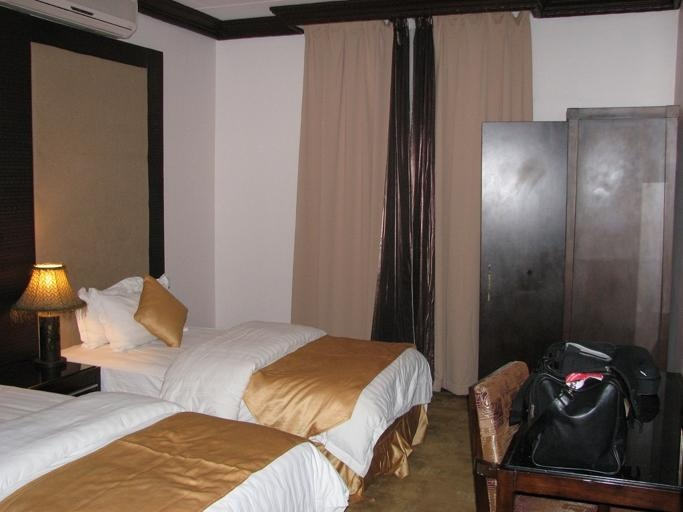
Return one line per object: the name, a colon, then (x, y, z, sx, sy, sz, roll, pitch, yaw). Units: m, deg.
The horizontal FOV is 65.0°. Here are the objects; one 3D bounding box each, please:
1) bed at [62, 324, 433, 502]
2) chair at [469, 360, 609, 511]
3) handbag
bed: (-0.610, 0.813, 3.659, 1.888, 0.622, 1.232, 3, 8, 20)
chair: (0.879, 0.755, 2.435, 0.506, 0.736, 0.721, 0, 3, 19)
handbag: (0.999, 0.578, 2.254, 0.429, 0.232, 0.622, -5, 11, 26)
